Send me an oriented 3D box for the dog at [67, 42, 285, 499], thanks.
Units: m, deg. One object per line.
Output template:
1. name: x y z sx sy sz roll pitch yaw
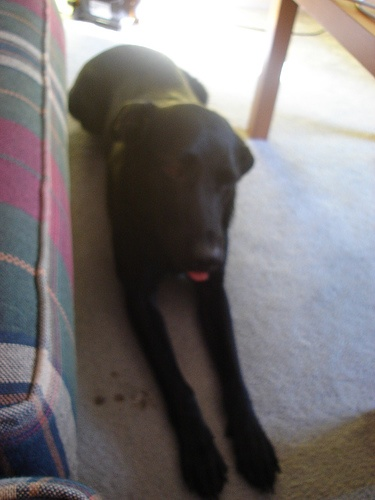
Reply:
1. dog: 0.006 -0.088 0.949 0.267 0.390 0.992 1 63 -30
